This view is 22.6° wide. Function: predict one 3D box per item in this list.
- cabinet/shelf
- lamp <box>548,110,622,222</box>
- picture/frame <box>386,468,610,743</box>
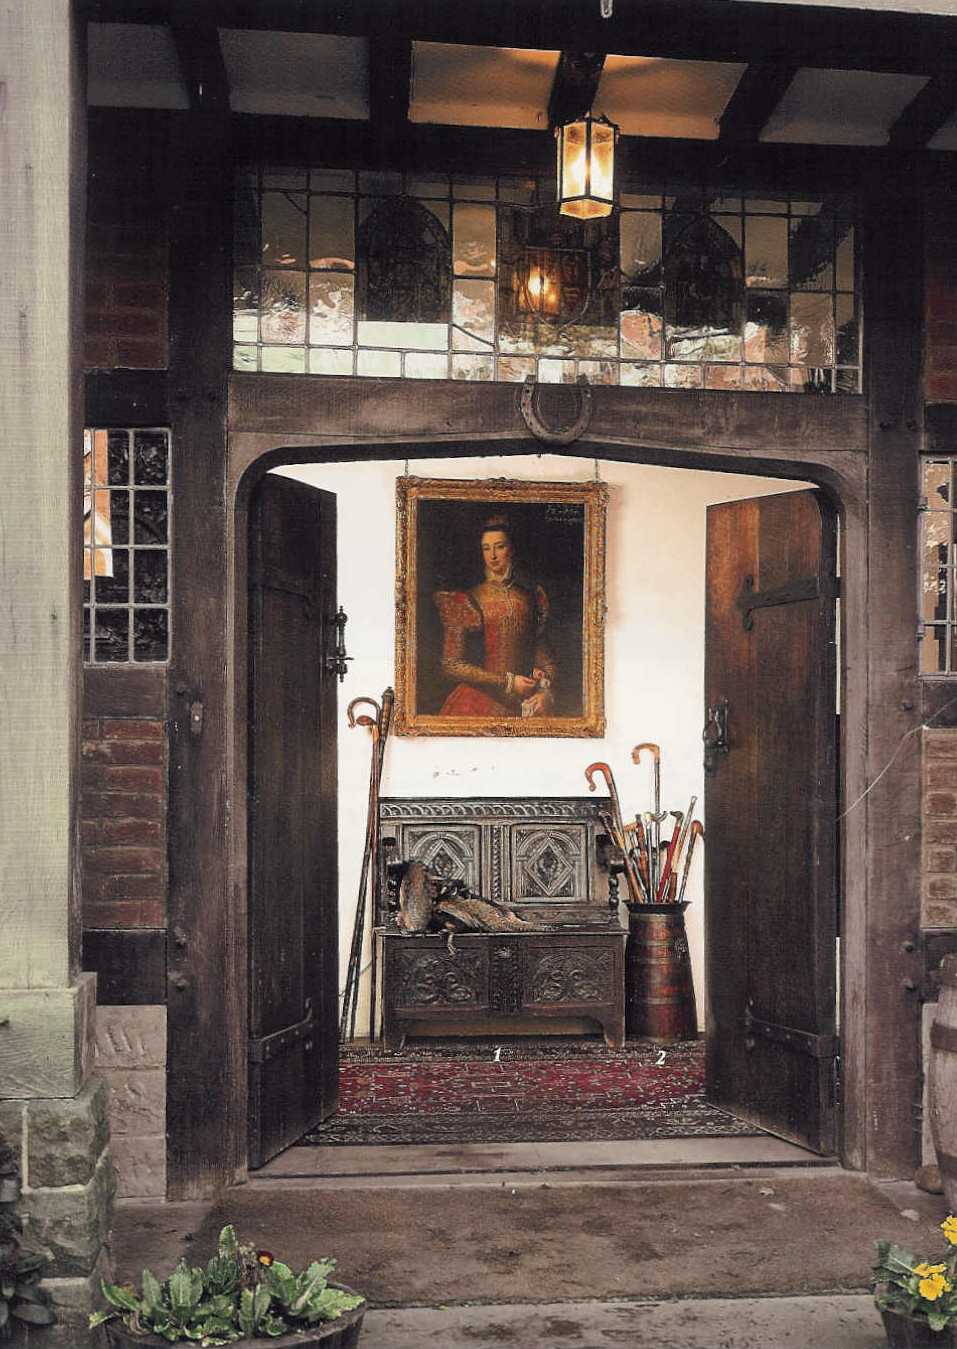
[{"bbox_3d":[0.102,1.234,9.579,0.992,0.464,0.131,2,-3,-9],"label":"cabinet/shelf"},{"bbox_3d":[0.313,-1.479,6.958,0.167,0.299,0.138,1,-3,-4],"label":"lamp"},{"bbox_3d":[0.097,-0.272,10.193,0.899,1.296,0.041,1,34,1],"label":"picture/frame"}]
